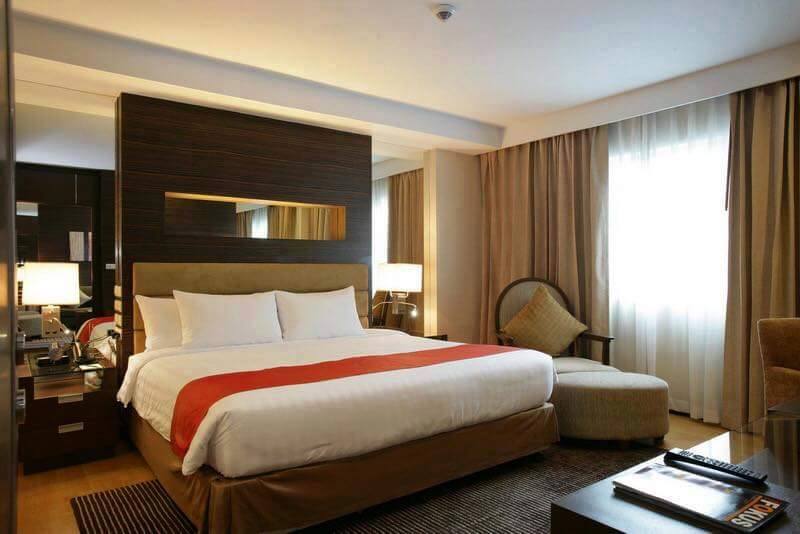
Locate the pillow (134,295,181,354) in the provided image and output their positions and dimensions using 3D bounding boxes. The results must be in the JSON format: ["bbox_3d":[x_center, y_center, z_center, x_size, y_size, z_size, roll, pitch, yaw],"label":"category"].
[{"bbox_3d":[-2.088,0.503,4.968,0.461,0.463,0.181,-8,-18,-45],"label":"pillow"}]

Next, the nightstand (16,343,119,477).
[{"bbox_3d":[-3.021,1.208,4.892,1.130,0.734,0.813,-3,-2,39],"label":"nightstand"}]

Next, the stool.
[{"bbox_3d":[1.969,1.347,5.163,0.931,0.499,0.919,-5,-16,4],"label":"stool"}]

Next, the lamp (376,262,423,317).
[{"bbox_3d":[-0.009,0.256,6.712,0.579,0.615,0.594,1,-3,-2],"label":"lamp"}]

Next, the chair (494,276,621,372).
[{"bbox_3d":[1.732,0.505,5.994,1.008,1.383,1.018,-3,-2,-14],"label":"chair"}]

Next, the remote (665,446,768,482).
[{"bbox_3d":[1.757,1.063,3.199,0.488,0.144,0.068,13,39,25],"label":"remote"}]

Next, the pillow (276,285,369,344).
[{"bbox_3d":[-0.775,0.439,5.487,0.763,0.458,0.203,2,-22,-35],"label":"pillow"}]

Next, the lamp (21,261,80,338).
[{"bbox_3d":[-2.977,0.274,4.909,0.420,0.629,0.264,-5,3,-32],"label":"lamp"}]

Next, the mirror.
[{"bbox_3d":[-1.786,-0.422,5.619,2.792,2.597,0.280,3,-5,-39],"label":"mirror"}]
